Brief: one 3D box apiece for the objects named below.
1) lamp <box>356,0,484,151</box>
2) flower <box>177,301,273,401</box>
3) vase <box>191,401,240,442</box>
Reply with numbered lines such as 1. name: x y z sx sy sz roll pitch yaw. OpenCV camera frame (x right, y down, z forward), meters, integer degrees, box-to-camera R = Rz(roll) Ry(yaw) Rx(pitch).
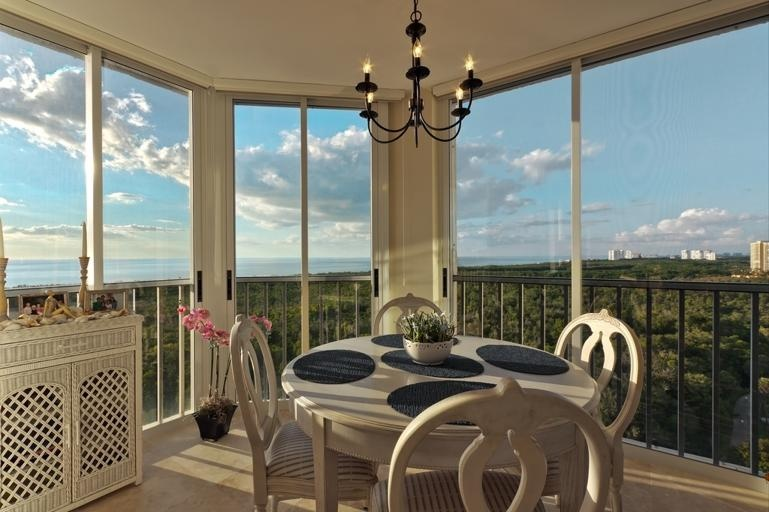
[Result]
1. lamp: 0.329 -1.554 4.299 0.840 1.308 0.842 -11 -16 39
2. flower: -1.389 0.808 4.293 0.869 1.050 0.312 4 -4 -40
3. vase: -1.456 1.373 4.401 0.274 0.279 0.350 0 -4 9
